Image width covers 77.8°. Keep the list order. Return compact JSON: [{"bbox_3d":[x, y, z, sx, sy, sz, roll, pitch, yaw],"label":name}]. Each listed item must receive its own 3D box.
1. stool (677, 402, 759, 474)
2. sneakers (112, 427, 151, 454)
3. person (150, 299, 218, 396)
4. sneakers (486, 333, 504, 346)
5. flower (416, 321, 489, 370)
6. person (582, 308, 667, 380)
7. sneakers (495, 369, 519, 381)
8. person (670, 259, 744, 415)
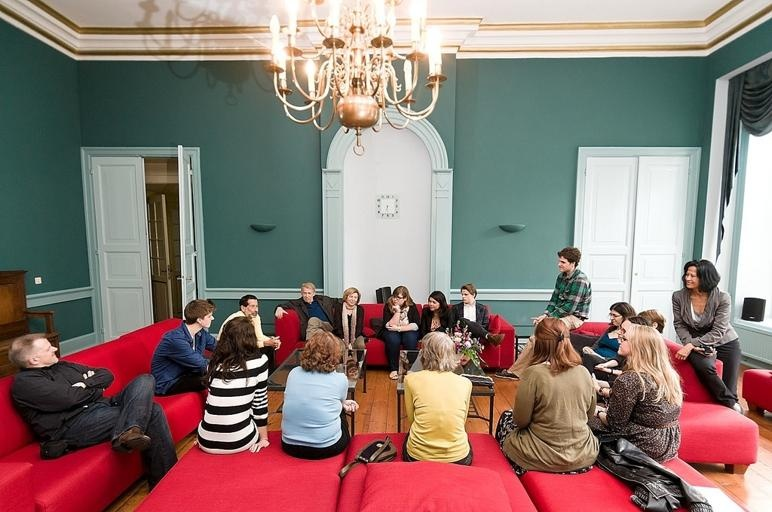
[{"bbox_3d":[3.445,1.844,5.022,0.595,0.436,0.900,-1,1,14],"label":"stool"},{"bbox_3d":[-2.346,1.719,4.538,0.364,0.192,0.171,-9,46,4],"label":"sneakers"},{"bbox_3d":[-2.205,1.188,5.470,0.849,1.455,0.623,0,23,-28],"label":"person"},{"bbox_3d":[1.500,1.143,6.613,0.215,0.105,0.313,9,-31,-7],"label":"sneakers"},{"bbox_3d":[0.781,1.153,5.790,0.691,0.173,0.739,-1,3,1],"label":"flower"},{"bbox_3d":[2.526,0.960,5.129,0.531,0.930,0.344,28,-11,21],"label":"person"},{"bbox_3d":[1.694,1.640,6.730,0.301,0.131,0.122,7,3,21],"label":"sneakers"},{"bbox_3d":[3.777,1.004,5.707,0.986,1.840,0.710,0,-2,-32],"label":"person"}]
